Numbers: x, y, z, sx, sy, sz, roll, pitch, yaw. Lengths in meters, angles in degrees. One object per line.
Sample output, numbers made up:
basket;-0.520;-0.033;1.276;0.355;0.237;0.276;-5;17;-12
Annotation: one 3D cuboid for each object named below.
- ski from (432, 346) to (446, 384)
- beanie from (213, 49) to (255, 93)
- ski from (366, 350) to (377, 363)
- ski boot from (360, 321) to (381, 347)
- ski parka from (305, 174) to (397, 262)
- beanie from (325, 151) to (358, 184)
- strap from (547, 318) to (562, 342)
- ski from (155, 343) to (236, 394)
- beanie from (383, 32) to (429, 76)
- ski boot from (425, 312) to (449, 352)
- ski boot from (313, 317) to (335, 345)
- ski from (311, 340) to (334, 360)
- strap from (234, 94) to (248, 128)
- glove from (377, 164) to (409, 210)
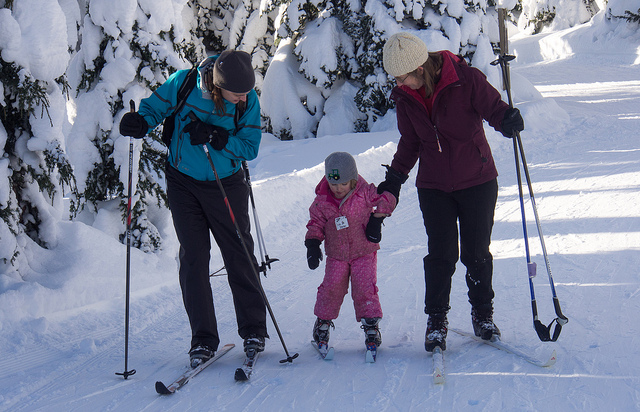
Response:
ski;1.132;1.505;5.749;0.109;0.100;0.644;-22;11;14
beanie;-0.822;-1.251;5.568;0.394;0.404;0.192;-10;9;-10
ski;0.501;1.479;5.911;0.090;0.105;0.149;-6;10;15
ski boot;0.513;1.312;6.019;0.176;0.252;0.157;-8;9;2
ski parka;0.226;-0.036;6.233;0.516;1.594;0.482;-3;11;-1
beanie;0.232;-0.383;6.222;0.364;0.383;0.438;-1;-1;11
strap;2.179;1.145;5.545;0.071;0.206;0.140;-6;5;-5
ski;-1.193;1.538;5.883;0.100;0.132;0.986;-6;12;33
beanie;0.790;-1.436;5.582;0.431;0.401;0.218;-7;9;11
ski boot;1.141;1.255;5.906;0.246;0.364;0.232;-7;9;9
ski boot;0.008;1.284;6.143;0.109;0.249;0.353;5;26;-10
ski;0.038;1.465;6.026;0.066;0.094;0.417;2;5;-10
strap;-0.779;-0.915;5.820;0.166;0.276;0.070;-9;9;-6
glove;0.728;-0.186;6.111;0.217;0.473;0.359;0;0;4
